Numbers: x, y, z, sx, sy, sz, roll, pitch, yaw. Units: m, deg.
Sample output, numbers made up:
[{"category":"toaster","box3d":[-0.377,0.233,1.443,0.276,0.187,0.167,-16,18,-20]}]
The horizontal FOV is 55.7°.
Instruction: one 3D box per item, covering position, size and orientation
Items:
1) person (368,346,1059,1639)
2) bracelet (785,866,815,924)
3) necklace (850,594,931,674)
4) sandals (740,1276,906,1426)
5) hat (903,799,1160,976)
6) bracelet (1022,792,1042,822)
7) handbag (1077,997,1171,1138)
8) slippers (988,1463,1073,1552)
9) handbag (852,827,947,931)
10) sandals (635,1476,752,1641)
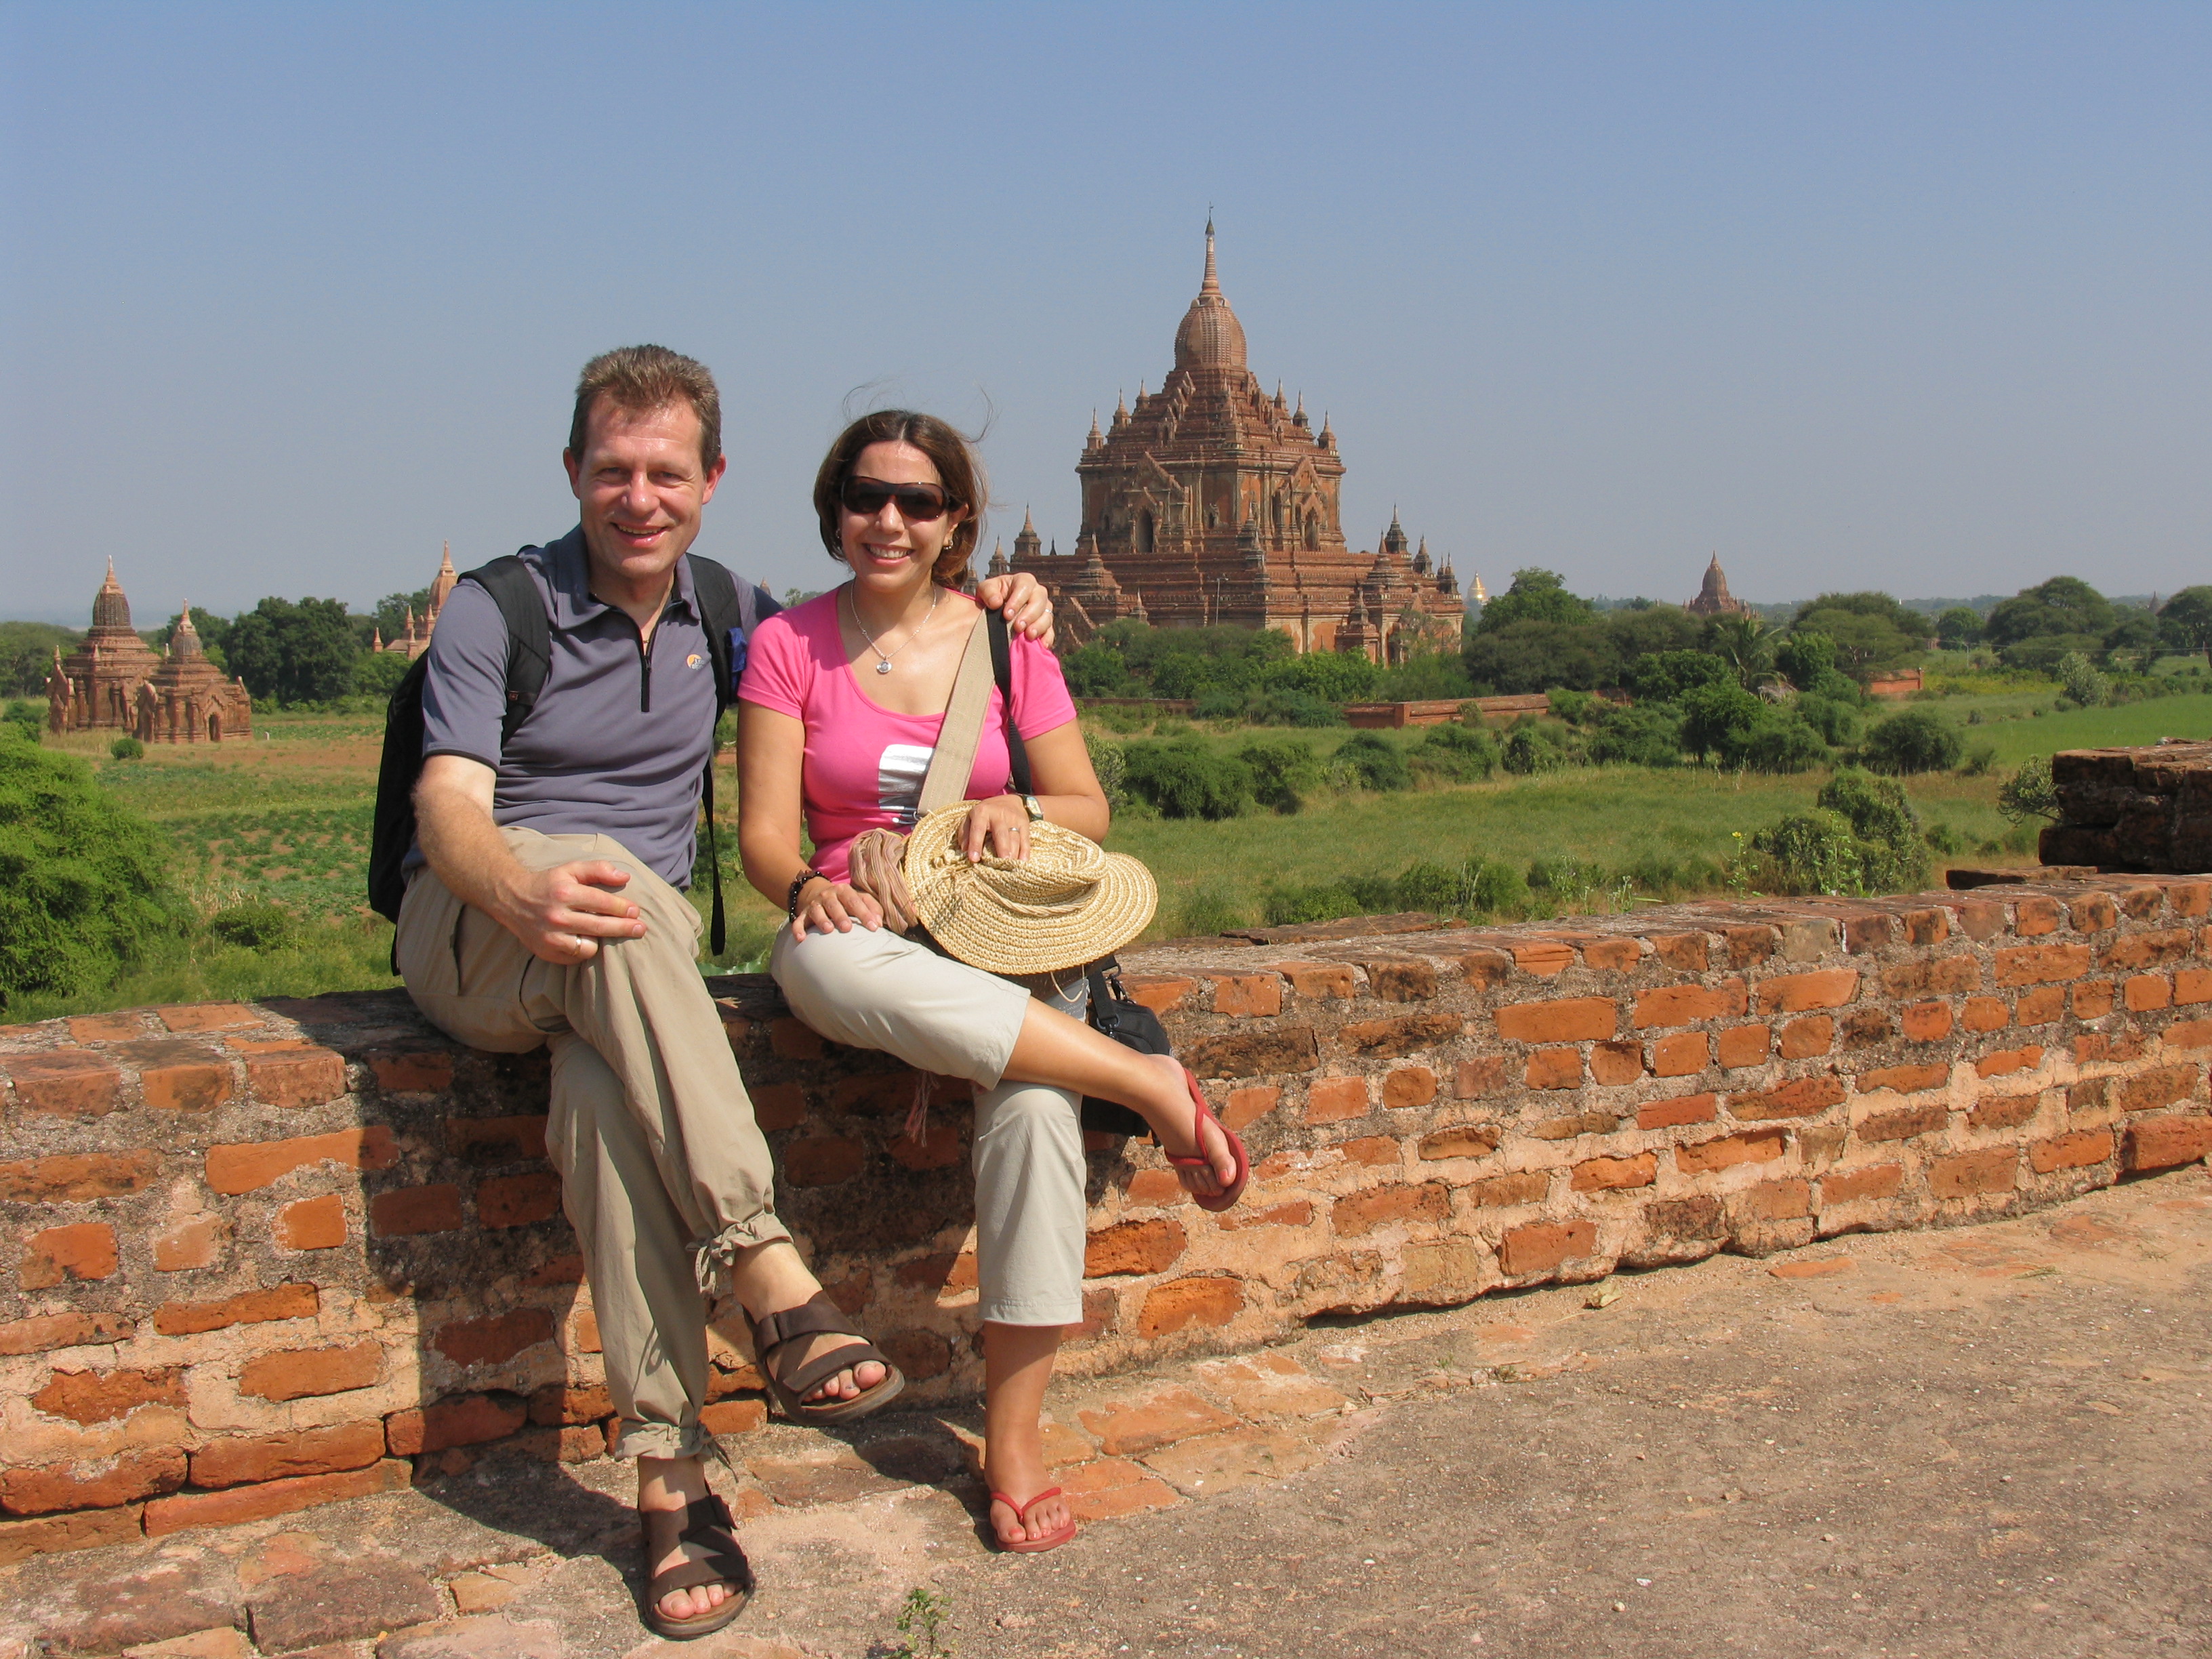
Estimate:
[{"category":"person","box3d":[-0.788,0.146,3.266,0.698,1.757,1.126,-4,14,-20]},{"category":"bracelet","box3d":[-0.511,0.105,3.373,0.050,0.066,0.066,25,25,-29]},{"category":"necklace","box3d":[-0.402,-0.331,3.630,0.102,0.140,0.050,-9,-5,0]},{"category":"sandals","box3d":[-0.407,0.812,3.291,0.188,0.147,0.432,-39,-8,5]},{"category":"hat","box3d":[-0.130,0.072,3.473,0.380,0.107,0.406,14,33,21]},{"category":"bracelet","box3d":[-0.140,-0.038,3.563,0.031,0.039,0.031,-12,29,-12]},{"category":"handbag","box3d":[0.023,0.390,3.496,0.160,0.216,0.073,8,8,32]},{"category":"slippers","box3d":[-0.144,1.031,3.160,0.164,0.074,0.116,7,14,23]},{"category":"handbag","box3d":[-0.352,0.085,3.370,0.064,0.148,0.111,-18,-28,31]},{"category":"sandals","box3d":[-0.601,1.049,3.004,0.163,0.122,0.214,-2,13,-12]}]
